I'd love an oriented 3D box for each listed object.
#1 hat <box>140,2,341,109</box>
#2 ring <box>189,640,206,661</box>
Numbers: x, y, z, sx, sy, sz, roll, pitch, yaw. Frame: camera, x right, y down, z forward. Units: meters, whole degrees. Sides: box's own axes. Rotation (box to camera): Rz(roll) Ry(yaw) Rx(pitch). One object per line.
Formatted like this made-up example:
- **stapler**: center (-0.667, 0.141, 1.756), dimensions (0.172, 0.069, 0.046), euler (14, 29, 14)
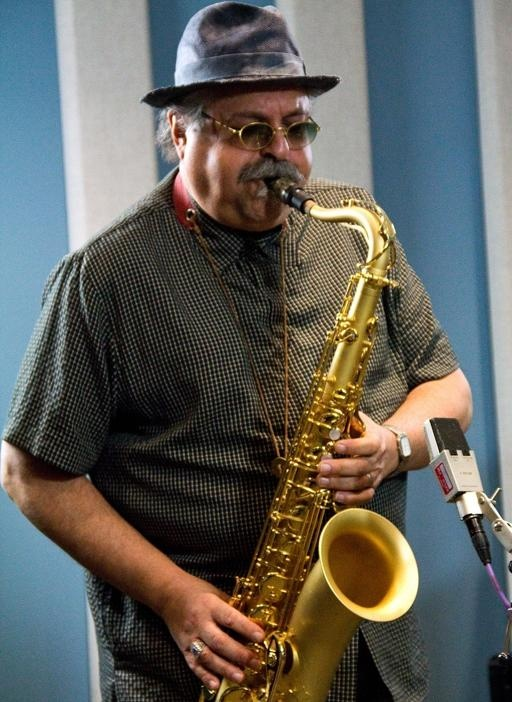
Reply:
- **hat**: center (-0.012, -0.531, 1.560), dimensions (0.235, 0.089, 0.256), euler (-5, 3, -42)
- **ring**: center (-0.099, 0.489, 1.397), dimensions (0.026, 0.028, 0.011), euler (2, 5, 15)
